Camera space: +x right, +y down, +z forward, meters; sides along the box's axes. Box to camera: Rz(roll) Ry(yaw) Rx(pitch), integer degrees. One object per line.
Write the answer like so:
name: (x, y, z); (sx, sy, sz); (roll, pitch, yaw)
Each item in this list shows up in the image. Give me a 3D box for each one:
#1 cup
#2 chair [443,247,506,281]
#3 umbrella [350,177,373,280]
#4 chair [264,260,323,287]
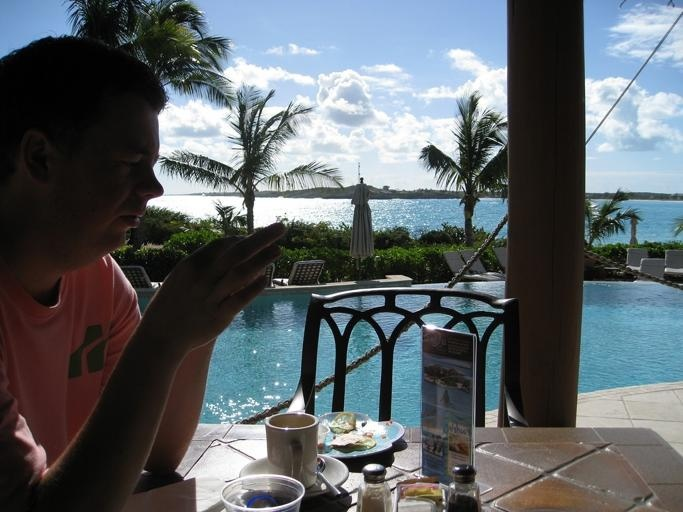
cup: (-0.108, 0.470, 1.227); (0.105, 0.152, 0.173); (0, 4, -5)
chair: (3.486, 0.262, 13.134); (0.913, 0.523, 1.277); (-1, 3, -21)
umbrella: (0.542, -0.689, 13.108); (0.610, 2.568, 1.252); (0, 5, 2)
chair: (-1.014, 0.438, 11.978); (0.669, 0.588, 0.923); (0, 3, -22)
